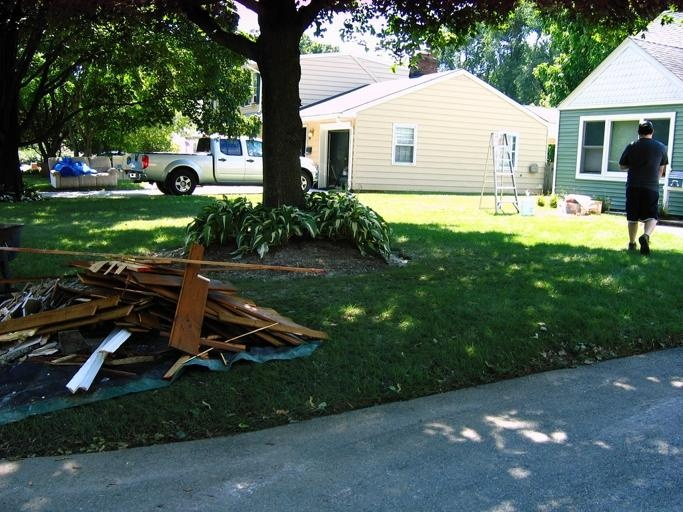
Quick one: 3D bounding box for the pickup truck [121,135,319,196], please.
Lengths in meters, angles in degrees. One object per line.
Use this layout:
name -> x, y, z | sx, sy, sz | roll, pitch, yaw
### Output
pickup truck -> -4.128, -3.518, 19.539 | 6.963, 2.466, 2.744 | -1, 4, -3

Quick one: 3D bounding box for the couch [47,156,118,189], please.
couch -> -12.687, -4.067, 23.495 | 3.768, 2.122, 2.982 | -1, 8, -38
